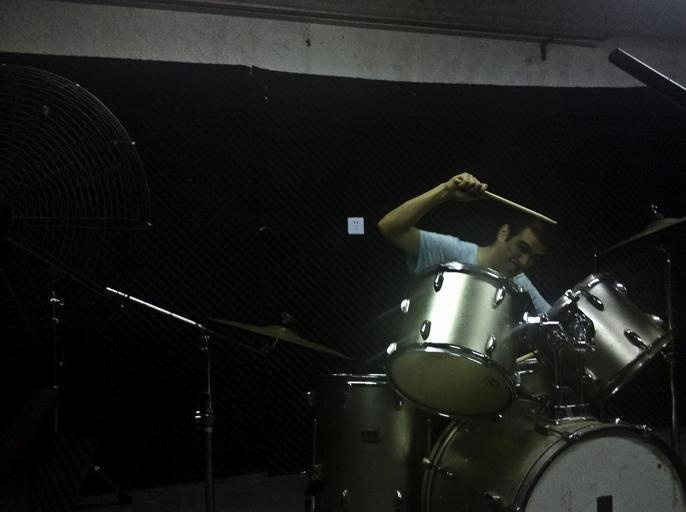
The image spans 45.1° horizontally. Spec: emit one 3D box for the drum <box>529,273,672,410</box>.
[{"bbox_3d":[1.628,0.490,5.248,0.594,0.567,0.602,-33,-18,13],"label":"drum"}]

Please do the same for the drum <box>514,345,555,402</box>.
[{"bbox_3d":[1.155,0.738,5.054,0.296,0.311,0.241,0,-4,-4],"label":"drum"}]

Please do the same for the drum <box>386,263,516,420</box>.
[{"bbox_3d":[0.754,0.511,5.024,0.806,0.803,0.869,-11,-48,24],"label":"drum"}]
